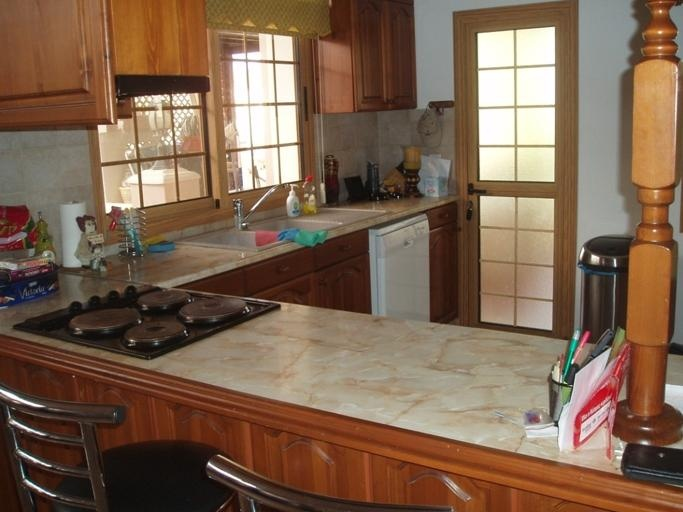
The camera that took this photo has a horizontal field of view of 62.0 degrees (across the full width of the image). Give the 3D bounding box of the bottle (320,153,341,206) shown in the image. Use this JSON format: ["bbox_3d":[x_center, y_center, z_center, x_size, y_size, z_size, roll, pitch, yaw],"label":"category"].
[{"bbox_3d":[-0.090,-0.623,4.676,0.126,0.401,0.141,-4,11,-2],"label":"bottle"}]

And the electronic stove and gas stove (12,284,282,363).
[{"bbox_3d":[-0.722,0.211,2.127,0.743,0.095,0.619,3,11,32],"label":"electronic stove and gas stove"}]

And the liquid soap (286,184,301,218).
[{"bbox_3d":[-0.375,-0.428,4.340,0.111,0.242,0.363,-4,10,-3],"label":"liquid soap"}]

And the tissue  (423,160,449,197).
[{"bbox_3d":[0.837,-0.678,5.059,0.177,0.267,0.164,7,19,38],"label":"tissue "}]

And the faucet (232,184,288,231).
[{"bbox_3d":[-0.579,-0.349,4.009,0.262,0.163,0.457,15,26,43],"label":"faucet"}]
